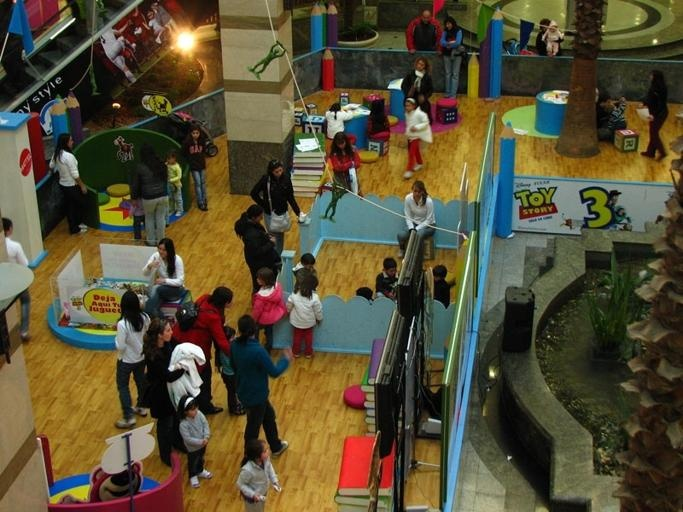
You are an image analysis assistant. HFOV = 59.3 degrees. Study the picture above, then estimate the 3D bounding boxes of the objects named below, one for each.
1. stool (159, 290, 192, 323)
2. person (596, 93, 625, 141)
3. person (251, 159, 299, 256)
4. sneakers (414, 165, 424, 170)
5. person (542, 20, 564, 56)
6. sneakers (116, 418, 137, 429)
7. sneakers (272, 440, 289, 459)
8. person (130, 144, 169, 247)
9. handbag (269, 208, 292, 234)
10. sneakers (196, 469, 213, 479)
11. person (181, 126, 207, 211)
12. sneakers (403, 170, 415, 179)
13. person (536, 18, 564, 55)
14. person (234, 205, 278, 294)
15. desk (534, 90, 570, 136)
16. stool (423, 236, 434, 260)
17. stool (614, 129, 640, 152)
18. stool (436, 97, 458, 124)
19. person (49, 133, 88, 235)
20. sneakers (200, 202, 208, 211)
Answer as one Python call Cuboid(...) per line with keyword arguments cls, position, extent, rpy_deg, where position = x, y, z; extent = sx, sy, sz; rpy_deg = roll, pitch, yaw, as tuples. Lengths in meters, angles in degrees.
Cuboid(cls="stool", position=(-2.518, 0.766, 9.136), extent=(0.478, 0.325, 0.512), rpy_deg=(-3, 40, 0))
Cuboid(cls="person", position=(6.092, -3.131, 13.606), extent=(0.735, 0.992, 0.614), rpy_deg=(3, 21, 8))
Cuboid(cls="person", position=(-1.082, -0.728, 10.245), extent=(0.910, 2.011, 0.472), rpy_deg=(5, 40, -3))
Cuboid(cls="sneakers", position=(1.677, -1.936, 13.055), extent=(0.205, 0.151, 0.077), rpy_deg=(-5, 61, 5))
Cuboid(cls="person", position=(5.556, -5.711, 15.738), extent=(0.510, 0.919, 0.318), rpy_deg=(3, 37, 24))
Cuboid(cls="sneakers", position=(-2.807, 2.185, 7.820), extent=(0.231, 0.175, 0.126), rpy_deg=(6, 55, -4))
Cuboid(cls="sneakers", position=(-0.762, 2.422, 7.530), extent=(0.098, 0.111, 0.244), rpy_deg=(16, 64, 20))
Cuboid(cls="person", position=(-3.299, -1.072, 10.361), extent=(0.597, 1.756, 0.343), rpy_deg=(-9, 22, -23))
Cuboid(cls="handbag", position=(-0.982, -0.551, 10.141), extent=(0.490, 0.514, 0.284), rpy_deg=(-3, 38, -4))
Cuboid(cls="sneakers", position=(-1.641, 2.619, 7.204), extent=(0.158, 0.072, 0.085), rpy_deg=(2, 45, 0))
Cuboid(cls="person", position=(-2.899, -1.776, 11.987), extent=(0.439, 1.712, 0.381), rpy_deg=(-11, 23, -27))
Cuboid(cls="sneakers", position=(1.471, -1.790, 12.909), extent=(0.132, 0.170, 0.343), rpy_deg=(16, 27, 36))
Cuboid(cls="person", position=(5.549, -5.700, 15.756), extent=(0.466, 0.958, 0.408), rpy_deg=(4, 22, 27))
Cuboid(cls="person", position=(-1.324, -0.081, 9.396), extent=(0.458, 1.351, 0.551), rpy_deg=(-10, 58, 4))
Cuboid(cls="desk", position=(4.909, -3.350, 14.145), extent=(0.643, 0.889, 0.746), rpy_deg=(6, 22, 14))
Cuboid(cls="stool", position=(1.509, -0.141, 10.492), extent=(0.266, 0.408, 0.289), rpy_deg=(0, 40, 6))
Cuboid(cls="stool", position=(6.369, -2.609, 13.362), extent=(0.460, 0.499, 0.505), rpy_deg=(1, 33, 11))
Cuboid(cls="stool", position=(2.658, -3.696, 15.037), extent=(0.591, 0.535, 0.577), rpy_deg=(-30, 45, -26))
Cuboid(cls="person", position=(-5.067, -1.345, 11.177), extent=(0.548, 1.880, 0.311), rpy_deg=(-6, 21, -15))
Cuboid(cls="sneakers", position=(-2.805, -1.018, 12.201), extent=(0.220, 0.159, 0.090), rpy_deg=(0, 71, -5))
